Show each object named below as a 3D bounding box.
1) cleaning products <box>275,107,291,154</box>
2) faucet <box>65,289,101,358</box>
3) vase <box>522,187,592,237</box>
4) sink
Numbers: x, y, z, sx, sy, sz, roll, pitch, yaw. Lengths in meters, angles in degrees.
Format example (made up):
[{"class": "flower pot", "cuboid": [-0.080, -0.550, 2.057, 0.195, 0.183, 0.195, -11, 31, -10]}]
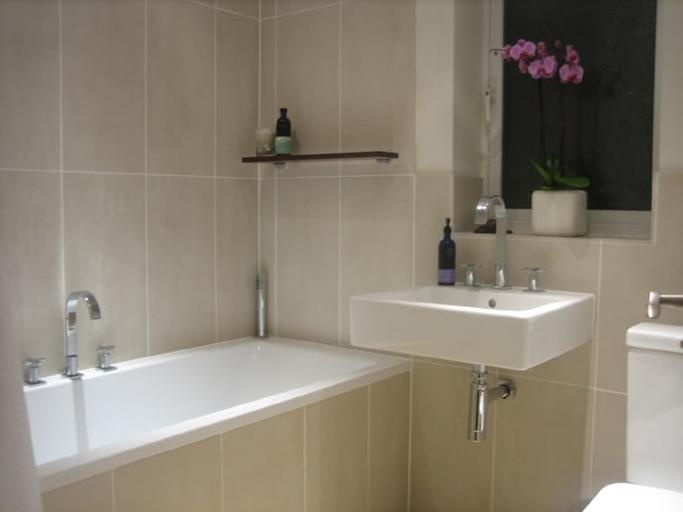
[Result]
[{"class": "cleaning products", "cuboid": [-0.287, -0.615, 2.855, 0.071, 0.230, 0.117, 0, 7, -11]}, {"class": "faucet", "cuboid": [-1.042, 0.272, 2.295, 0.210, 0.258, 0.086, 7, 9, 35]}, {"class": "vase", "cuboid": [0.876, -0.208, 2.383, 0.204, 0.199, 0.218, 9, 30, 32]}, {"class": "sink", "cuboid": [0.491, 0.309, 2.132, 0.695, 0.352, 0.675, 7, 9, 37]}]
